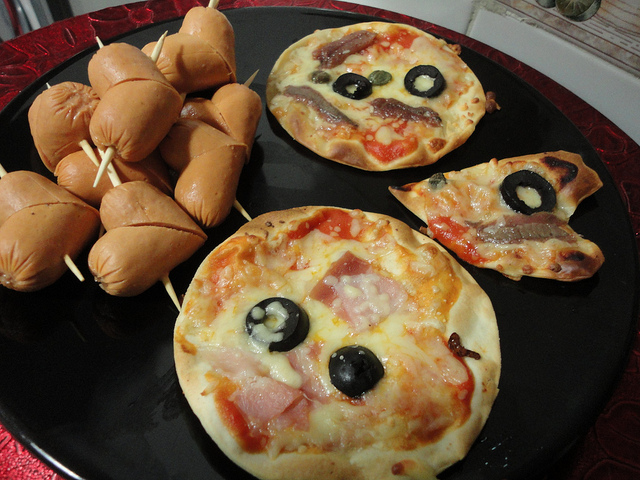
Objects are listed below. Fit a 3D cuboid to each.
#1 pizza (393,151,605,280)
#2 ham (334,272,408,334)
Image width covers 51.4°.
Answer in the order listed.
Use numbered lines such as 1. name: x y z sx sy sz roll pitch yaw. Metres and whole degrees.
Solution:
1. pizza: 1.049 -0.146 3.765 0.839 0.136 0.772 17 58 9
2. ham: 0.244 0.290 3.396 0.297 0.073 0.286 -38 60 -18
